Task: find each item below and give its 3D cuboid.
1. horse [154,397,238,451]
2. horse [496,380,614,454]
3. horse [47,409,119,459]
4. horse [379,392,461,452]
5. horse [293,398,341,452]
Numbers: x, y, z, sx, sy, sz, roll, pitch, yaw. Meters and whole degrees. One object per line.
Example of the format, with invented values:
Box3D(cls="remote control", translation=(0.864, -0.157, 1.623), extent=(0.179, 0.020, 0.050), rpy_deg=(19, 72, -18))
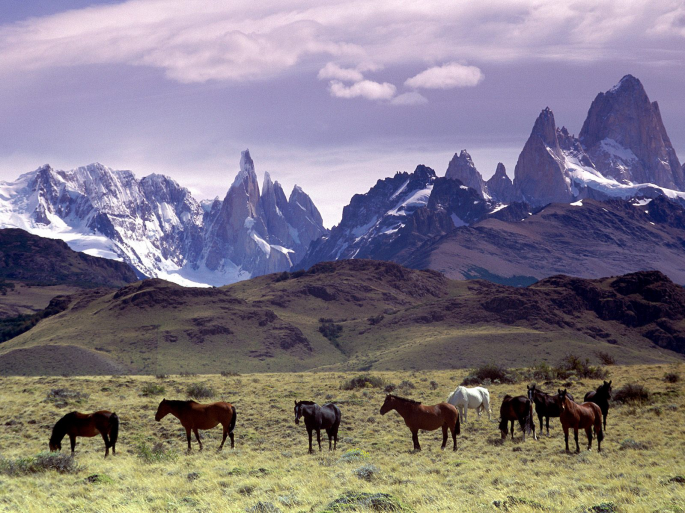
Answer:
Box3D(cls="horse", translation=(-12.712, 15.135, 85.975), extent=(6.233, 4.602, 2.551), rpy_deg=(1, 3, 0))
Box3D(cls="horse", translation=(19.090, 14.274, 86.449), extent=(9.117, 5.459, 5.807), rpy_deg=(2, 3, 23))
Box3D(cls="horse", translation=(-22.456, 15.649, 83.992), extent=(5.375, 4.069, 1.640), rpy_deg=(0, 3, -8))
Box3D(cls="horse", translation=(7.457, 15.222, 87.131), extent=(6.273, 5.302, 6.721), rpy_deg=(0, 3, 23))
Box3D(cls="horse", translation=(-2.536, 15.393, 86.926), extent=(4.710, 4.398, 4.398), rpy_deg=(1, 0, 1))
